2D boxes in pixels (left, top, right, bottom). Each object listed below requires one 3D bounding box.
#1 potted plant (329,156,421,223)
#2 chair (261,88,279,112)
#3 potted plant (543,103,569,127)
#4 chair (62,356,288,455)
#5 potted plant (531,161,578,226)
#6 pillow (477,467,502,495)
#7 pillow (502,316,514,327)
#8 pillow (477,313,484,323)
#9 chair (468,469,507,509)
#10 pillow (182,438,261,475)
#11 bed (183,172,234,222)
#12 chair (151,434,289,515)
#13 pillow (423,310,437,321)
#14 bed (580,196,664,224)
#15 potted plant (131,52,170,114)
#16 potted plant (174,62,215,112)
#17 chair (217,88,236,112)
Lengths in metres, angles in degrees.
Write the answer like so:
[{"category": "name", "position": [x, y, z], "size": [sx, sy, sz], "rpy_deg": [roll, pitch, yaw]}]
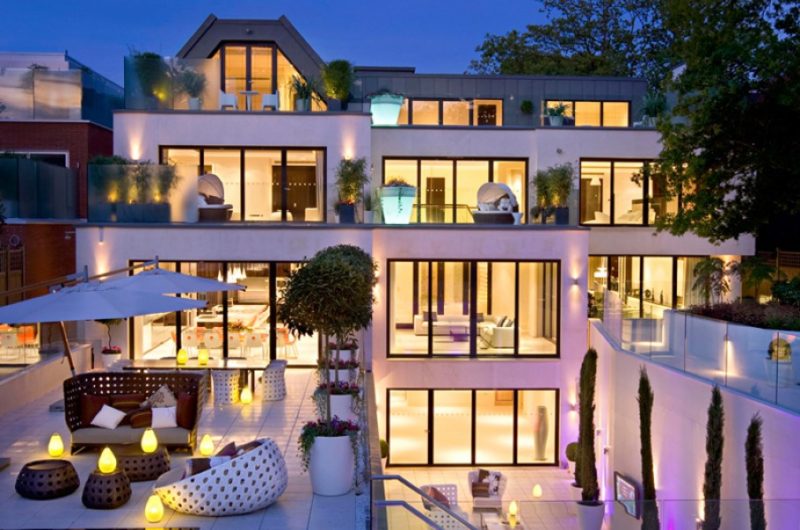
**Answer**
[{"category": "potted plant", "position": [-0.972, -2.779, 29.369], "size": [2.478, 2.028, 2.637], "rpy_deg": [0, 1, -2]}, {"category": "chair", "position": [-5.117, -6.514, 30.668], "size": [0.789, 1.211, 0.826], "rpy_deg": [1, 3, -7]}, {"category": "potted plant", "position": [6.564, -6.262, 32.330], "size": [1.038, 0.861, 0.685], "rpy_deg": [1, 2, 0]}, {"category": "chair", "position": [-7.042, 3.869, 21.069], "size": [3.063, 2.258, 3.011], "rpy_deg": [0, 0, -9]}, {"category": "potted plant", "position": [5.926, -2.746, 29.738], "size": [1.413, 2.395, 1.780], "rpy_deg": [1, 2, -6]}, {"category": "pillow", "position": [3.040, 7.359, 25.896], "size": [0.674, 0.695, 0.186], "rpy_deg": [-3, -36, 9]}, {"category": "pillow", "position": [4.022, 2.138, 28.706], "size": [0.358, 0.388, 0.328], "rpy_deg": [1, 2, 11]}, {"category": "pillow", "position": [3.000, 1.995, 28.560], "size": [0.292, 0.338, 0.085], "rpy_deg": [1, 5, -6]}, {"category": "chair", "position": [2.909, 7.435, 25.463], "size": [0.932, 1.197, 1.141], "rpy_deg": [0, -14, 4]}, {"category": "pillow", "position": [-3.963, 4.535, 17.736], "size": [1.542, 0.869, 1.435], "rpy_deg": [-3, -7, 16]}, {"category": "bed", "position": [-7.022, -2.316, 29.098], "size": [1.839, 1.882, 1.916], "rpy_deg": [-4, -7, -15]}, {"category": "chair", "position": [-4.292, 5.050, 18.352], "size": [3.233, 1.617, 2.656], "rpy_deg": [-1, -2, -1]}, {"category": "pillow", "position": [1.113, 1.915, 28.443], "size": [0.383, 0.405, 0.118], "rpy_deg": [2, 8, 5]}, {"category": "bed", "position": [9.194, -2.215, 32.052], "size": [2.987, 1.114, 0.160], "rpy_deg": [1, 2, -3]}, {"category": "potted plant", "position": [-9.465, -7.106, 29.473], "size": [0.767, 2.534, 0.989], "rpy_deg": [6, 12, 26]}, {"category": "potted plant", "position": [-7.990, -6.941, 30.464], "size": [1.610, 1.849, 1.116], "rpy_deg": [1, 4, -4]}, {"category": "chair", "position": [-6.803, -6.537, 30.422], "size": [0.658, 0.997, 0.692], "rpy_deg": [-1, 10, -7]}]
